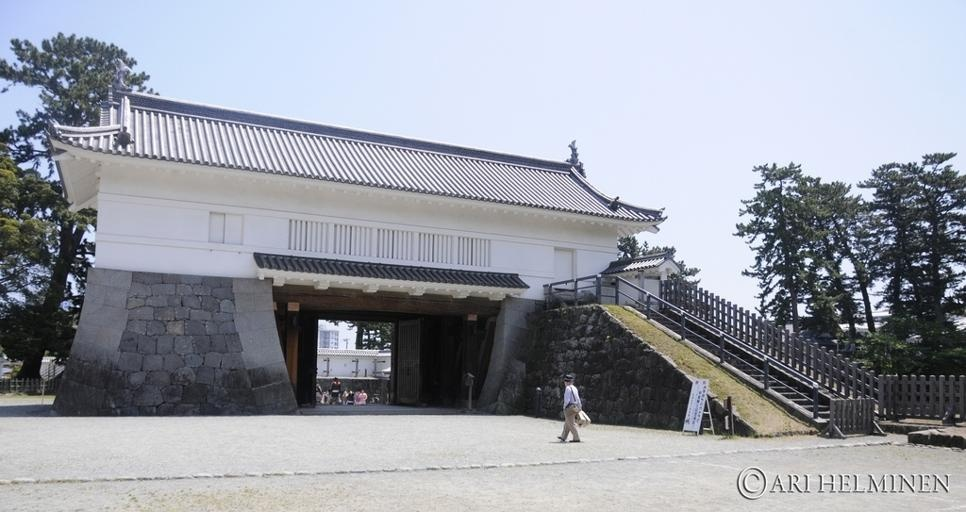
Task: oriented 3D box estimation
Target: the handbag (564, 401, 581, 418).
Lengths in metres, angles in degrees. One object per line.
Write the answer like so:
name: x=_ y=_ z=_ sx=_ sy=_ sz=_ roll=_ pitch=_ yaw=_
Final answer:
handbag: x=3.120 y=5.401 z=23.711 sx=0.914 sy=0.436 sz=0.638 roll=2 pitch=-9 yaw=19
